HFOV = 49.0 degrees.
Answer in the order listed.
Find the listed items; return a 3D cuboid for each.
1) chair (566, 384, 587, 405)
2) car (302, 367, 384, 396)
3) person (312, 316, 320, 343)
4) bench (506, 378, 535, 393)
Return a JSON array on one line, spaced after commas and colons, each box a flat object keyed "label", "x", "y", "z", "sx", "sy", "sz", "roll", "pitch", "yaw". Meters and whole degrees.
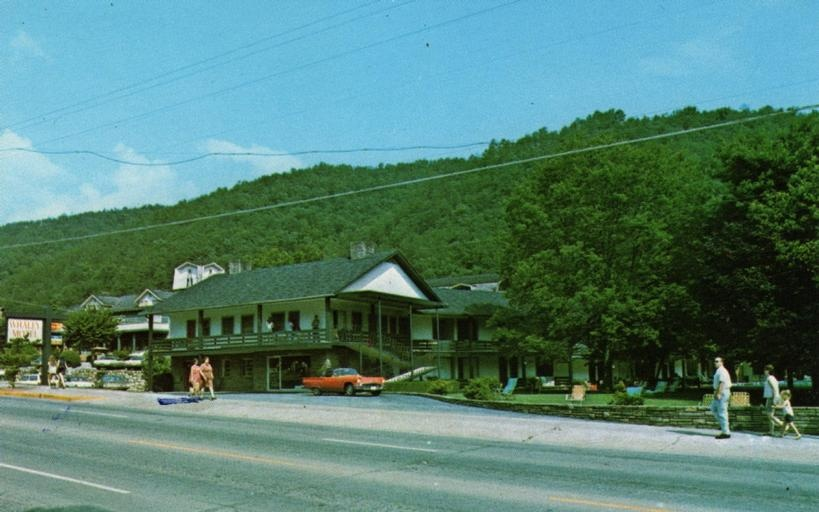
[{"label": "chair", "x": 10.716, "y": 9.238, "z": 59.639, "sx": 1.587, "sy": 1.474, "sz": 2.482, "roll": -3, "pitch": -16, "yaw": 15}, {"label": "car", "x": -4.880, "y": 9.074, "z": 65.100, "sx": 4.686, "sy": 1.286, "sz": 2.266, "roll": -9, "pitch": -13, "yaw": 38}, {"label": "person", "x": -7.309, "y": 5.709, "z": 69.803, "sx": 0.676, "sy": 2.206, "sz": 1.459, "roll": 0, "pitch": -13, "yaw": -6}, {"label": "bench", "x": 8.971, "y": 11.003, "z": 75.206, "sx": 3.052, "sy": 1.206, "sz": 1.595, "roll": 5, "pitch": -5, "yaw": -33}]
